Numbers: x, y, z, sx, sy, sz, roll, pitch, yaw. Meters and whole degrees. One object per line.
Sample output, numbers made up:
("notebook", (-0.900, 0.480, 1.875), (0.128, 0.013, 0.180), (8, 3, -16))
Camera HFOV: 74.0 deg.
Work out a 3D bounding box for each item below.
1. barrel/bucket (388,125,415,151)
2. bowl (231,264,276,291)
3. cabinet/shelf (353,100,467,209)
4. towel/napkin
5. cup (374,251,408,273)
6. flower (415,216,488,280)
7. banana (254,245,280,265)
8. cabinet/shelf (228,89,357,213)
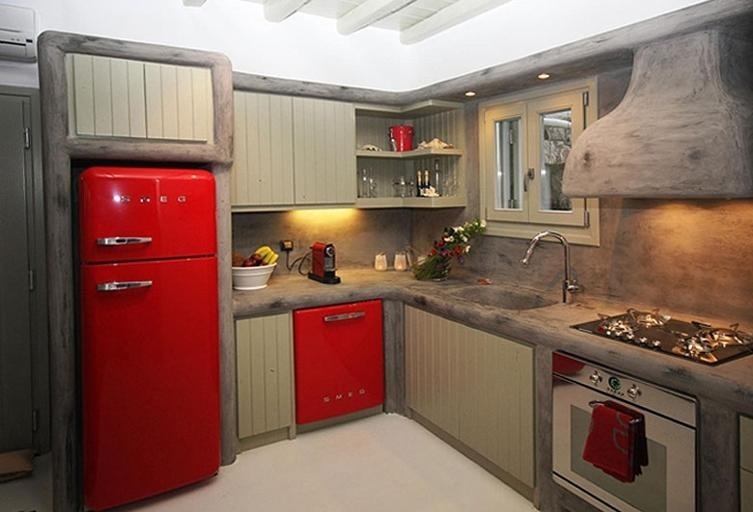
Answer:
("barrel/bucket", (0.237, -1.111, 4.765), (0.206, 0.242, 0.203), (-3, 9, 1))
("bowl", (-1.013, 0.174, 4.112), (0.309, 0.198, 0.185), (-11, 12, -38))
("cabinet/shelf", (0.362, -0.879, 4.839), (1.262, 1.186, 0.857), (-1, 1, -20))
("towel/napkin", (1.318, 1.037, 2.817), (0.117, 0.365, 0.340), (6, 11, -46))
("cup", (0.144, 0.051, 5.006), (0.343, 0.171, 0.295), (-3, 9, 1))
("flower", (0.626, -0.042, 4.350), (0.644, 0.500, 0.320), (-2, 10, 7))
("banana", (-0.952, 0.001, 4.263), (0.198, 0.152, 0.070), (-7, -14, 29))
("cabinet/shelf", (-0.788, -0.856, 4.345), (1.147, 0.929, 0.401), (-6, 13, -31))
